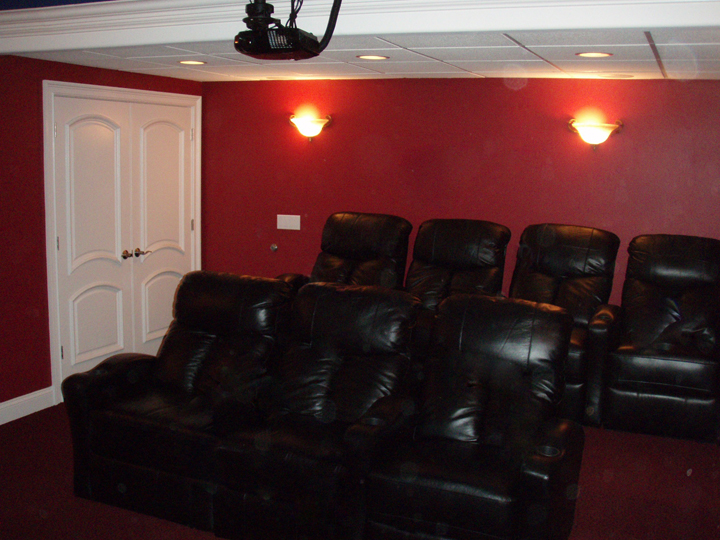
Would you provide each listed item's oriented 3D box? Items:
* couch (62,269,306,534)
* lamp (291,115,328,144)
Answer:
[{"bbox_3d":[-1.091,0.691,4.101,1.491,1.336,1.452,1,0,22],"label":"couch"},{"bbox_3d":[-0.521,-1.394,5.921,0.414,0.237,0.184,7,17,25],"label":"lamp"}]
